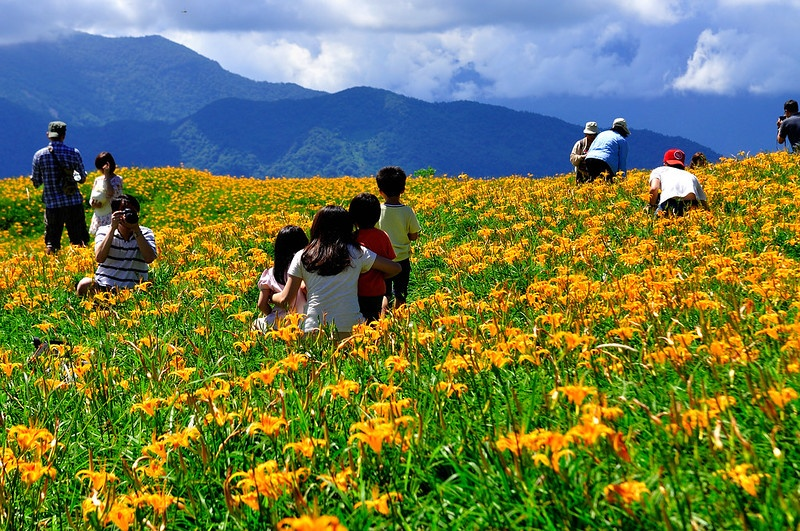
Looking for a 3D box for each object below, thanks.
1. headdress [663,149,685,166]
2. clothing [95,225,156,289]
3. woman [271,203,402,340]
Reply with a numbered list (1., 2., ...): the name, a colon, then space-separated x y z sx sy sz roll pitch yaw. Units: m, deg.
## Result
1. headdress: 4.065 -1.562 9.363 0.258 0.192 0.391 6 10 7
2. clothing: -3.577 0.031 8.461 0.859 0.980 0.769 5 -17 -23
3. woman: -0.647 0.255 6.332 1.210 1.598 0.982 -5 -12 19
